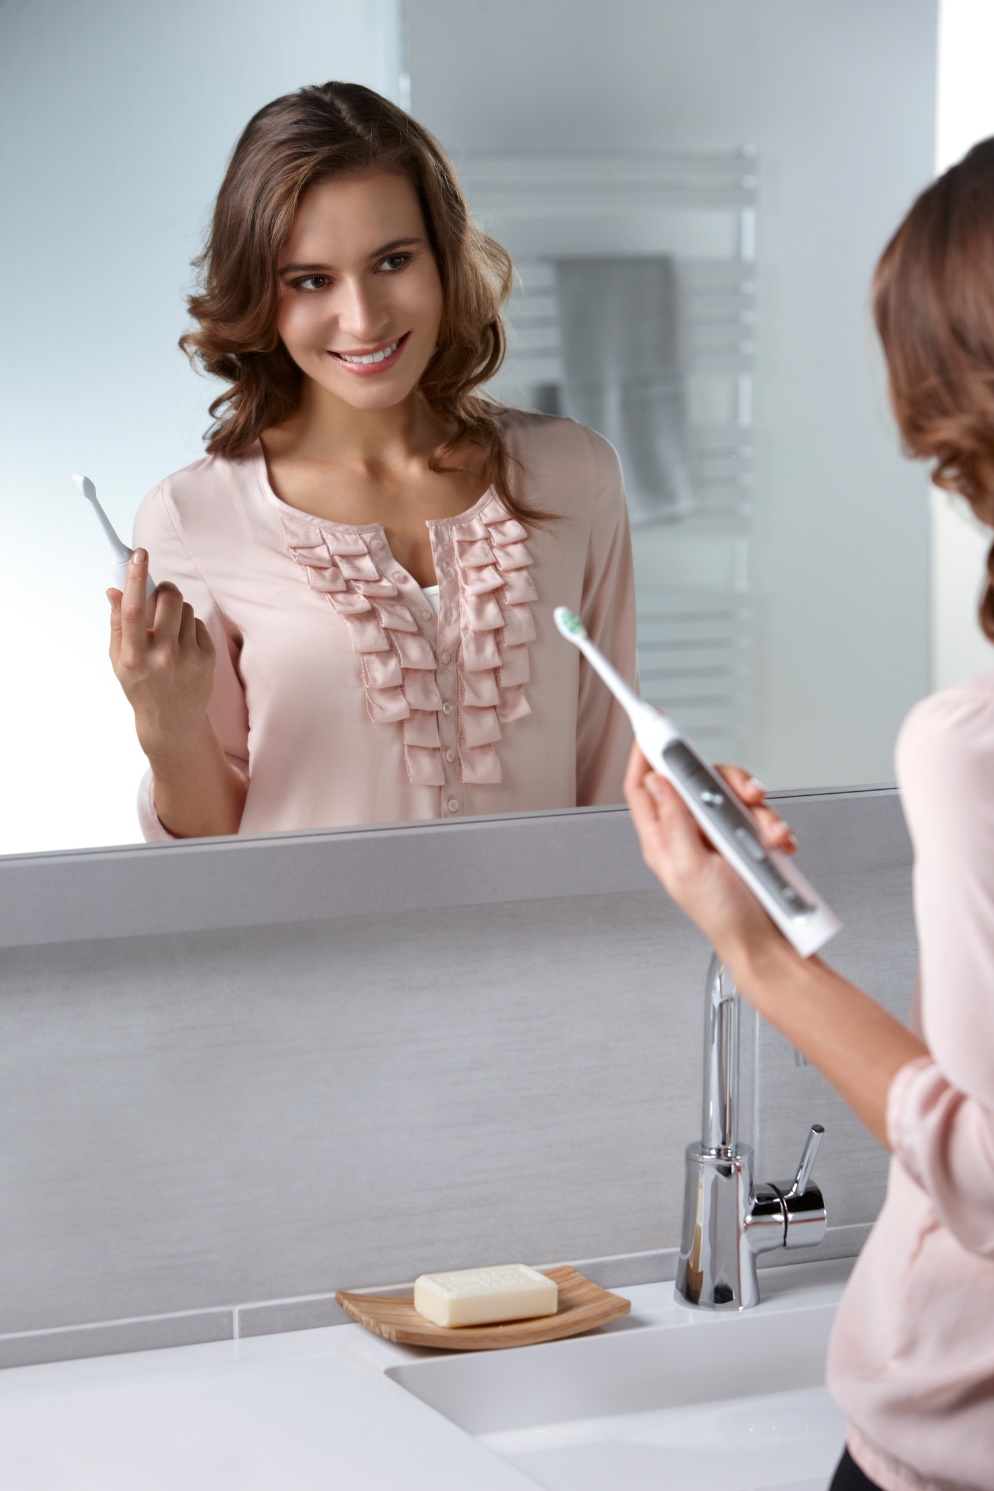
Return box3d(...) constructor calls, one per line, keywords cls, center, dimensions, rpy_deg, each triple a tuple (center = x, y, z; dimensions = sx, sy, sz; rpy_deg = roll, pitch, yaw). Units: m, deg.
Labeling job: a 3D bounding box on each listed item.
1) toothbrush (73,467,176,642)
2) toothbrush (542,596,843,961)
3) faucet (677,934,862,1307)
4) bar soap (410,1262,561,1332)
box3d(cls="toothbrush", center=(-0.252, -0.142, 1.011), dimensions=(0.022, 0.094, 0.023), rpy_deg=(-31, 4, -14))
box3d(cls="toothbrush", center=(0.124, 0.016, 0.746), dimensions=(0.154, 0.174, 0.126), rpy_deg=(-9, 20, -30))
box3d(cls="faucet", center=(0.188, 0.275, 1.097), dimensions=(0.125, 0.245, 0.112), rpy_deg=(-2, 19, 1))
box3d(cls="bar soap", center=(-0.009, 0.370, 1.034), dimensions=(0.113, 0.033, 0.061), rpy_deg=(-1, -4, -19))
